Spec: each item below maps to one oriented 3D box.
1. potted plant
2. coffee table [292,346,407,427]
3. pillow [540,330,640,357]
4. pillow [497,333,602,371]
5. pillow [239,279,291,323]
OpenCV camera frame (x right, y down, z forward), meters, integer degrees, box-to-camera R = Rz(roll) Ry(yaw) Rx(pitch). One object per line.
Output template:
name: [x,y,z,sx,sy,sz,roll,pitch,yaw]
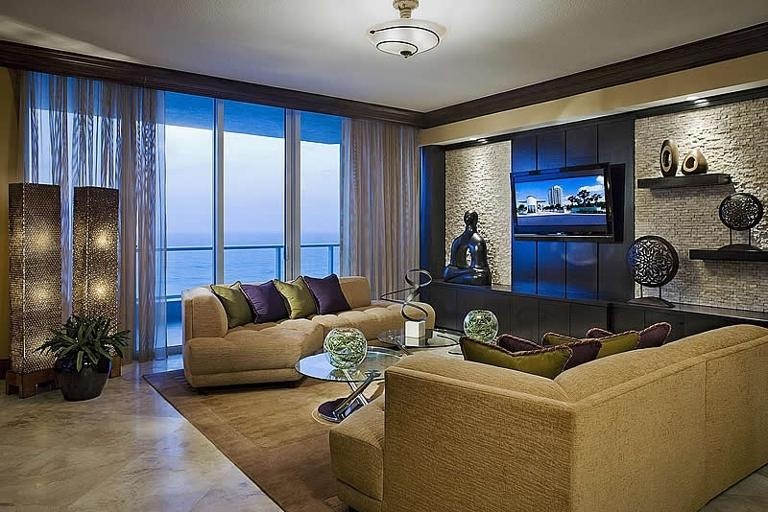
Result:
potted plant: [-3.064,0.990,4.982,0.845,0.700,0.844,-1,-5,33]
coffee table: [-0.329,1.113,4.150,0.858,0.355,0.850,1,3,31]
pillow: [1.374,0.539,3.051,0.300,0.088,0.290,-2,-2,-10]
pillow: [1.058,0.554,2.942,0.333,0.100,0.321,1,-1,-23]
pillow: [-1.412,0.558,5.672,0.151,0.449,0.498,-26,-12,31]
